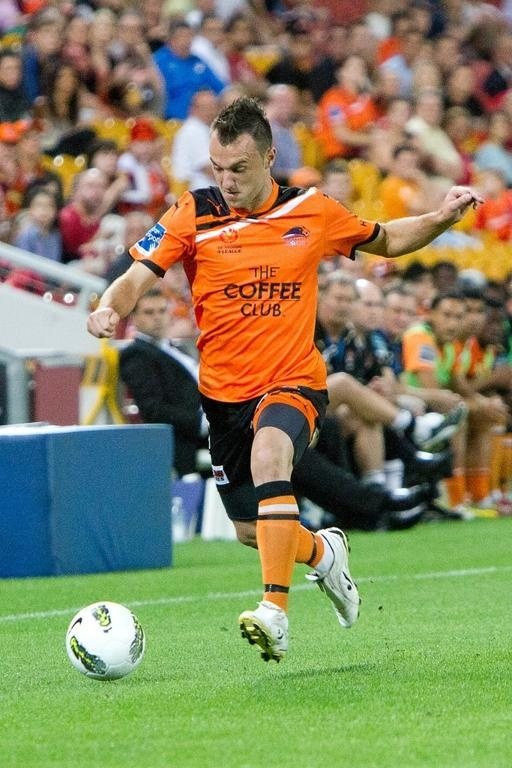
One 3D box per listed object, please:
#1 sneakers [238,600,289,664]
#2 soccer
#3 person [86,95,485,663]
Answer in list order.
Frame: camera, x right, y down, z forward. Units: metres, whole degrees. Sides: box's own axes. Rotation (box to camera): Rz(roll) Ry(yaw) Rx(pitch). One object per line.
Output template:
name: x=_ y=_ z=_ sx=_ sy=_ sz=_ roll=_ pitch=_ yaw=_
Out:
sneakers: x=0.041 y=0.727 z=2.752 sx=0.124 sy=0.136 sz=0.278 roll=-1 pitch=-1 yaw=20
soccer: x=-0.484 y=0.822 z=2.955 sx=0.260 sy=0.230 sz=0.252 roll=8 pitch=-1 yaw=24
person: x=0.113 y=-0.189 z=3.395 sx=1.149 sy=2.191 sz=0.971 roll=0 pitch=1 yaw=3
